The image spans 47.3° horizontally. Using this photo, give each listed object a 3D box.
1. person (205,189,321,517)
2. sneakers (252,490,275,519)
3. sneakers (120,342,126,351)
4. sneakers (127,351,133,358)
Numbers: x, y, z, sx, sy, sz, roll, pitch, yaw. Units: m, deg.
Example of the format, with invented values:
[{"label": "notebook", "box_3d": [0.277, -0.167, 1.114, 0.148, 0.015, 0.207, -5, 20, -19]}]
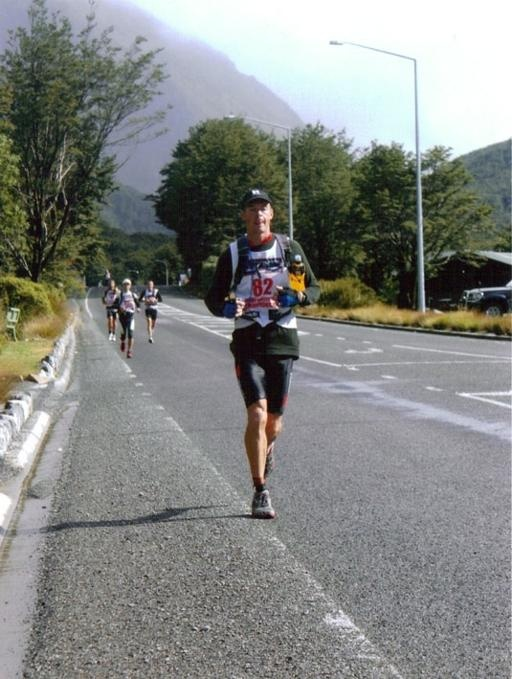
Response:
[{"label": "person", "box_3d": [0.024, 0.073, 3.748, 0.707, 2.038, 0.526, 3, 4, 8]}, {"label": "sneakers", "box_3d": [0.045, 1.008, 3.576, 0.080, 0.107, 0.216, 0, 1, -7]}, {"label": "sneakers", "box_3d": [-3.716, 0.190, 16.372, 0.097, 0.289, 0.473, 2, 5, -13]}, {"label": "sneakers", "box_3d": [-3.236, 0.372, 15.014, 0.103, 0.173, 0.371, -1, -6, -6]}]
